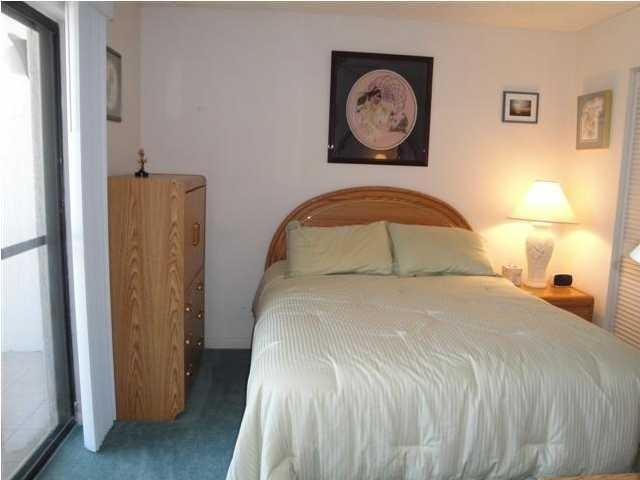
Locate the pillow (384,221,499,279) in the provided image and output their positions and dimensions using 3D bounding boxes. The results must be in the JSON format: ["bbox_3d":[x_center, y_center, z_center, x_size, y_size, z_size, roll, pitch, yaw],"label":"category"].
[{"bbox_3d":[0.930,0.095,3.741,0.664,0.407,0.140,5,-33,-21],"label":"pillow"}]

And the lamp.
[{"bbox_3d":[1.819,-0.057,4.118,0.542,0.862,0.467,4,11,9],"label":"lamp"}]

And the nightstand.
[{"bbox_3d":[1.931,0.471,4.009,0.335,0.223,0.356,1,8,1],"label":"nightstand"}]

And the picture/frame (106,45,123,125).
[{"bbox_3d":[-1.422,-1.037,3.375,0.017,0.441,0.423,-7,20,-39],"label":"picture/frame"}]

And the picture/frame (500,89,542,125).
[{"bbox_3d":[1.647,-1.117,4.138,0.281,0.245,0.028,0,8,-5],"label":"picture/frame"}]

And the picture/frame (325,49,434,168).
[{"bbox_3d":[0.437,-1.097,3.996,0.907,0.951,0.040,1,7,-6],"label":"picture/frame"}]

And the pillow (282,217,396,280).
[{"bbox_3d":[0.132,0.066,3.659,0.638,0.406,0.205,0,-22,-10],"label":"pillow"}]

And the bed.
[{"bbox_3d":[0.450,0.519,4.307,1.911,1.273,1.859,-2,7,-18],"label":"bed"}]
